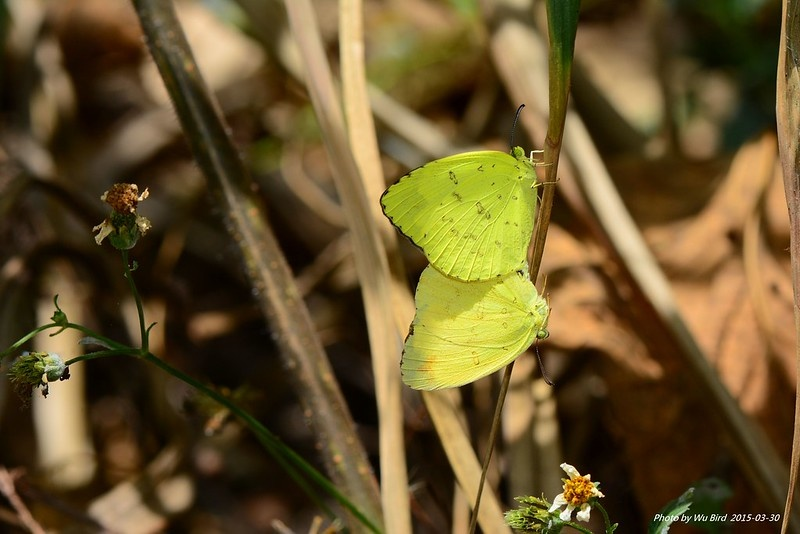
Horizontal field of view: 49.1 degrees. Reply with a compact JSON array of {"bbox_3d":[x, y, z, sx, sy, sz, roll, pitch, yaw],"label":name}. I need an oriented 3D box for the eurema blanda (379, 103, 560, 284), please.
[{"bbox_3d":[0.075,-0.056,1.045,0.183,0.160,0.054,-7,11,3],"label":"eurema blanda"}]

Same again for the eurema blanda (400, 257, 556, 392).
[{"bbox_3d":[0.086,0.025,1.064,0.162,0.197,0.119,1,14,10],"label":"eurema blanda"}]

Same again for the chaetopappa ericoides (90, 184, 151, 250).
[{"bbox_3d":[-0.326,-0.059,1.092,0.080,0.089,0.079,-1,-3,25],"label":"chaetopappa ericoides"}]
